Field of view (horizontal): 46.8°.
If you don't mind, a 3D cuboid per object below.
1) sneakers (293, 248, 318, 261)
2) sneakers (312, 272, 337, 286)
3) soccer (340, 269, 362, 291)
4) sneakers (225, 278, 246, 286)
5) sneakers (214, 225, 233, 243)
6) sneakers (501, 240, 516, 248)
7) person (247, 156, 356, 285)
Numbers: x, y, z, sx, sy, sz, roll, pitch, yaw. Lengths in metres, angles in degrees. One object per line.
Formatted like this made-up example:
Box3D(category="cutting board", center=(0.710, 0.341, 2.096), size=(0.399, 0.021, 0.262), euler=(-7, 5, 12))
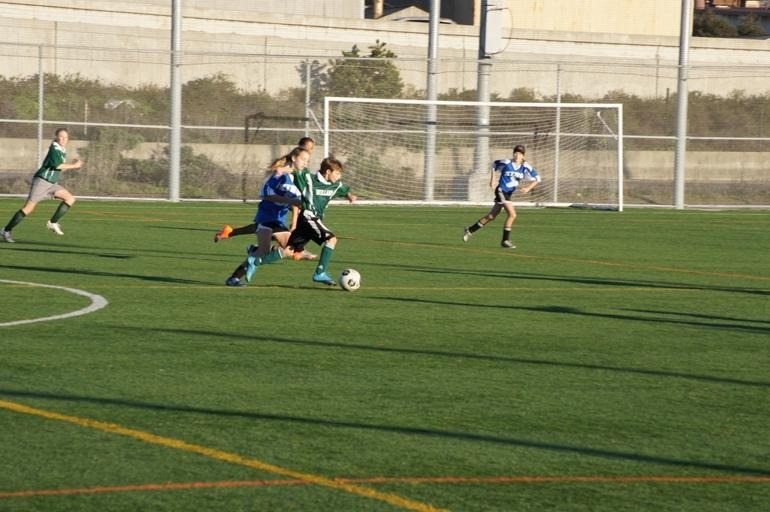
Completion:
Box3D(category="sneakers", center=(-1.016, -0.002, 10.981), size=(0.374, 0.110, 0.104), euler=(-3, 9, 0))
Box3D(category="sneakers", center=(-0.664, 0.266, 10.708), size=(0.400, 0.107, 0.165), euler=(6, -31, -23))
Box3D(category="soccer", center=(-0.422, 0.280, 10.399), size=(0.243, 0.249, 0.262), euler=(1, 12, -4))
Box3D(category="sneakers", center=(-1.783, 0.309, 10.579), size=(0.239, 0.072, 0.107), euler=(-3, 8, 7))
Box3D(category="sneakers", center=(-2.070, -0.275, 11.412), size=(0.273, 0.132, 0.367), euler=(-22, 12, 1))
Box3D(category="sneakers", center=(2.172, -0.192, 15.202), size=(0.353, 0.102, 0.107), euler=(2, 14, 4))
Box3D(category="person", center=(-0.963, -0.367, 10.391), size=(1.118, 1.555, 0.409), euler=(-3, 15, -23))
